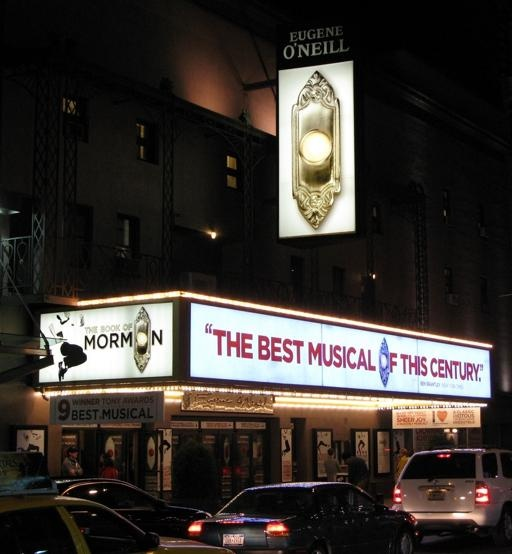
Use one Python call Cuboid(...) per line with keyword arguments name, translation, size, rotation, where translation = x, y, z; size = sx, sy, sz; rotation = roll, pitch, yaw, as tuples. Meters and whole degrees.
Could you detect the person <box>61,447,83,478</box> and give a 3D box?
Cuboid(name="person", translation=(-3.712, 3.743, 16.804), size=(0.357, 0.550, 0.943), rotation=(1, -6, -12))
